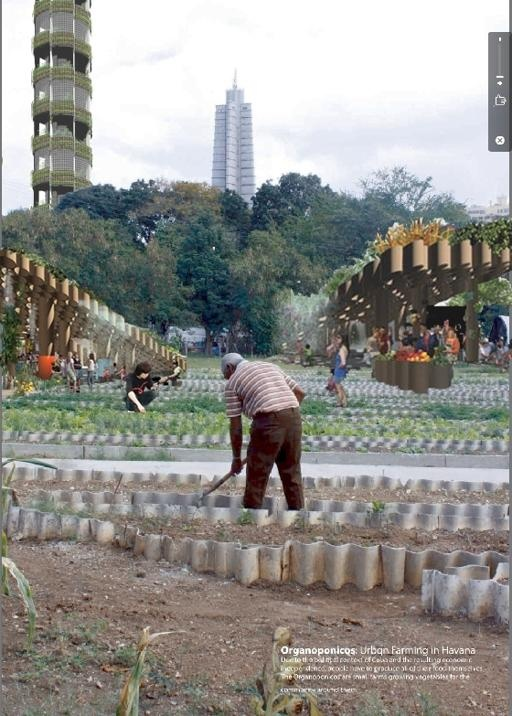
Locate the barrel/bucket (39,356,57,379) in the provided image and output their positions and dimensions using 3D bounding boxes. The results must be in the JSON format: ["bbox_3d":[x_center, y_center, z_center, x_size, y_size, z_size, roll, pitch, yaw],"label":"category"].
[{"bbox_3d":[-3.741,0.160,17.736,0.346,0.580,0.353,-2,-7,0],"label":"barrel/bucket"}]

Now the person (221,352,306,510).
[{"bbox_3d":[0.048,0.534,6.835,0.560,1.117,0.466,0,5,2],"label":"person"}]

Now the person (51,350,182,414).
[{"bbox_3d":[-1.524,0.331,13.152,0.664,0.819,0.731,-5,33,-44],"label":"person"}]
